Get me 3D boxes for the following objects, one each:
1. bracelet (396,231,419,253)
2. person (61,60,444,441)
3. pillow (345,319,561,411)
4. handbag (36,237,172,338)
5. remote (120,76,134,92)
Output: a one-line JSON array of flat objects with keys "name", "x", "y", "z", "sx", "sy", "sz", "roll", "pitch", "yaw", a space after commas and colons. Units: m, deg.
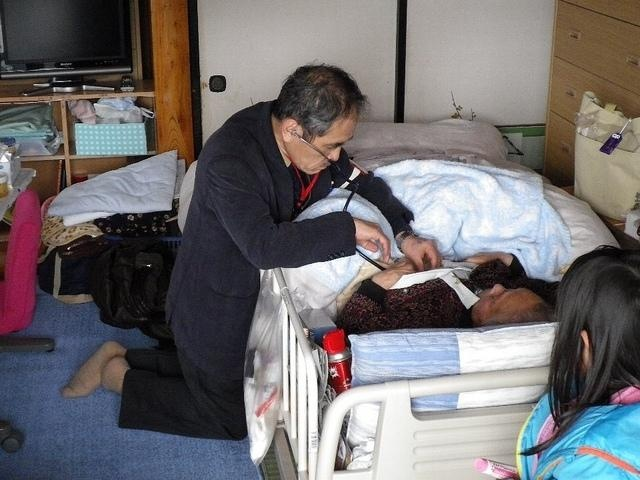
[{"name": "bracelet", "x": 0.307, "y": 0.005, "z": 1.788, "sx": 0.045, "sy": 0.069, "sz": 0.071, "roll": 20, "pitch": 46, "yaw": -32}, {"name": "person", "x": -0.295, "y": 0.188, "z": 1.843, "sx": 1.345, "sy": 1.557, "sz": 0.719, "roll": 7, "pitch": 19, "yaw": 3}, {"name": "pillow", "x": 0.329, "y": 0.309, "z": 1.255, "sx": 0.469, "sy": 0.222, "sz": 0.138, "roll": -1, "pitch": 5, "yaw": -4}, {"name": "handbag", "x": -1.060, "y": 0.201, "z": 2.581, "sx": 0.566, "sy": 0.301, "sz": 0.742, "roll": -3, "pitch": 27, "yaw": -12}, {"name": "remote", "x": -1.256, "y": -1.017, "z": 3.196, "sx": 0.108, "sy": 0.045, "sz": 0.157, "roll": 1, "pitch": 34, "yaw": -8}]
